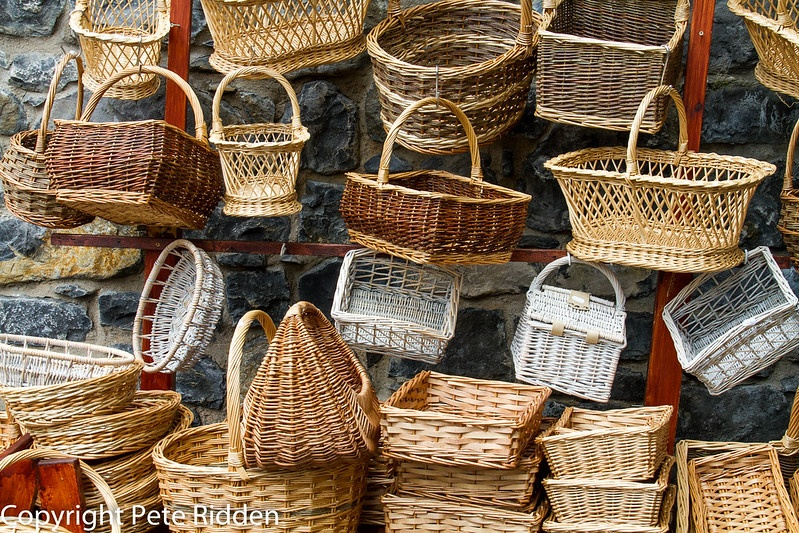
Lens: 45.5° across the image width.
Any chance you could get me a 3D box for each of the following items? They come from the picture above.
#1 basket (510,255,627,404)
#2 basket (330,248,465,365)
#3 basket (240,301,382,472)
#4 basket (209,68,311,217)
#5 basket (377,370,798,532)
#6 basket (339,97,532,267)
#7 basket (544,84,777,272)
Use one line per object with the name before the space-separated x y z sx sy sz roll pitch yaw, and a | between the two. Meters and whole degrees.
basket | 0.555 0.171 3.082 0.357 0.425 0.272 11 11 -2
basket | -0.017 0.130 3.121 0.494 0.177 0.332 9 55 -5
basket | -0.267 0.371 2.925 0.418 0.411 0.537 -2 -3 -3
basket | -0.455 -0.406 3.052 0.356 0.434 0.318 -12 20 -28
basket | 0.413 0.528 2.902 0.821 0.296 0.476 4 29 10
basket | 0.127 -0.287 3.106 0.456 0.454 0.591 -5 14 -32
basket | 0.860 -0.247 2.950 0.401 0.448 0.611 9 0 -33
